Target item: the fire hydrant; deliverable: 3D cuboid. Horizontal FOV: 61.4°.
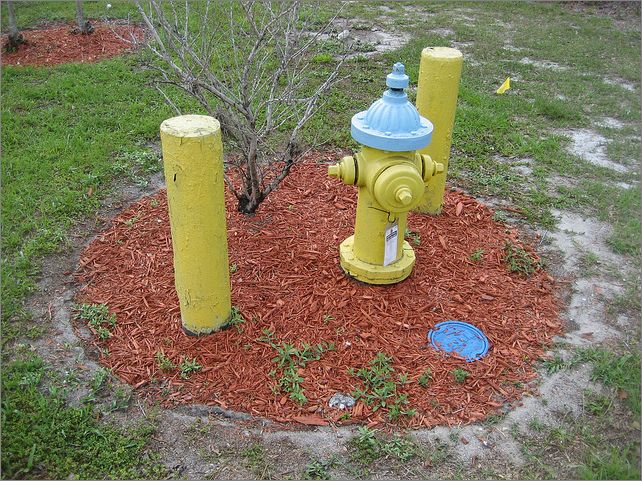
[{"bbox_3d":[0.635,-0.580,5.217,0.909,1.976,0.846,-29,47,-34],"label":"fire hydrant"}]
